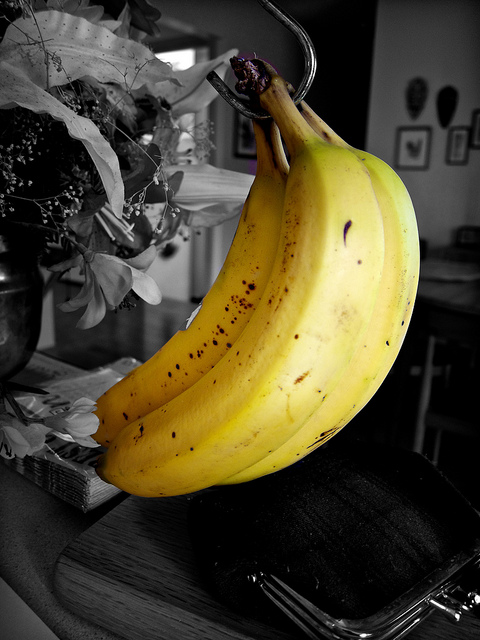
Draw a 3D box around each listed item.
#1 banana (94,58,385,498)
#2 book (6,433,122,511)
[{"bbox_3d":[0.006,-0.014,0.414,0.151,0.317,0.095,20,18,41],"label":"banana"},{"bbox_3d":[-0.153,0.134,0.532,0.086,0.018,0.087,20,26,27],"label":"book"}]
